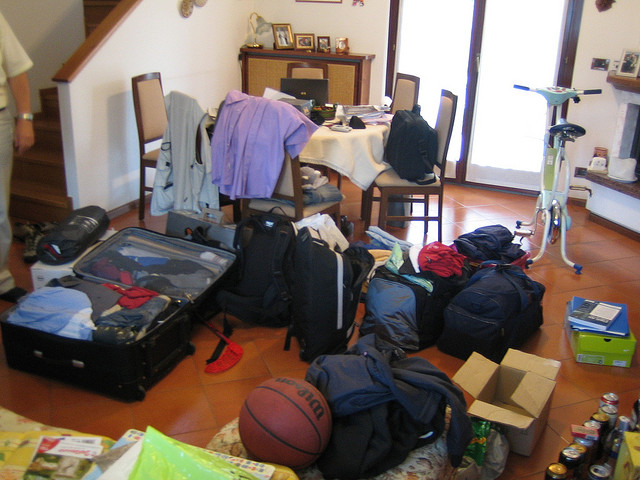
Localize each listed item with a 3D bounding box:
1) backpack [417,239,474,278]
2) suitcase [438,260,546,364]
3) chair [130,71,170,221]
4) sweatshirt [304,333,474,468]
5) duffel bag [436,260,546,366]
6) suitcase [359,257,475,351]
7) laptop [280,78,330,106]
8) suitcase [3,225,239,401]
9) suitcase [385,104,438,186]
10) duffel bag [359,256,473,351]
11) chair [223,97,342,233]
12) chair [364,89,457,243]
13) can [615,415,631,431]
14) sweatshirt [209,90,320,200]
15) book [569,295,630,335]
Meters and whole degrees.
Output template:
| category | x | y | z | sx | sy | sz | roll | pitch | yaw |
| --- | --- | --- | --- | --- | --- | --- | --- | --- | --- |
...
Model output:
| category | x | y | z | sx | sy | sz | roll | pitch | yaw |
| --- | --- | --- | --- | --- | --- | --- | --- | --- | --- |
| backpack | 0.733 | 0.123 | 3.011 | 0.383 | 0.161 | 0.229 | -14 | 23 | -42 |
| suitcase | 0.955 | 0.365 | 2.952 | 0.419 | 0.433 | 0.641 | 27 | 51 | 36 |
| chair | -1.371 | -0.754 | 4.165 | 0.269 | 1.171 | 0.476 | -4 | 18 | -17 |
| sweatshirt | 0.366 | 0.595 | 2.322 | 0.687 | 0.473 | 0.589 | 12 | 21 | 21 |
| duffel bag | 1.026 | 0.366 | 2.976 | 0.455 | 0.443 | 0.673 | 20 | 30 | 39 |
| suitcase | 0.492 | 0.360 | 3.015 | 0.560 | 0.580 | 0.405 | -3 | 17 | -42 |
| laptop | -0.121 | -1.336 | 4.490 | 0.440 | 0.287 | 0.302 | 8 | 27 | 13 |
| suitcase | -1.065 | 0.369 | 2.789 | 0.785 | 0.607 | 0.872 | 8 | 18 | 19 |
| suitcase | 0.664 | -0.718 | 3.800 | 0.324 | 0.553 | 0.339 | 1 | 23 | 0 |
| duffel bag | 0.463 | 0.328 | 3.064 | 0.569 | 0.449 | 0.654 | -7 | 26 | -31 |
| chair | -0.255 | -0.475 | 3.333 | 0.690 | 1.083 | 0.623 | 11 | 42 | 15 |
| chair | 0.732 | -0.500 | 4.086 | 0.746 | 1.347 | 0.700 | 0 | 21 | -5 |
| can | 1.298 | 0.791 | 2.195 | 0.047 | 0.050 | 0.046 | -16 | 26 | -15 |
| sweatshirt | -0.366 | -0.626 | 3.317 | 0.450 | 0.886 | 0.451 | 15 | 25 | 29 |
| book | 1.564 | 0.418 | 2.852 | 0.224 | 0.032 | 0.238 | 5 | 30 | 25 |
